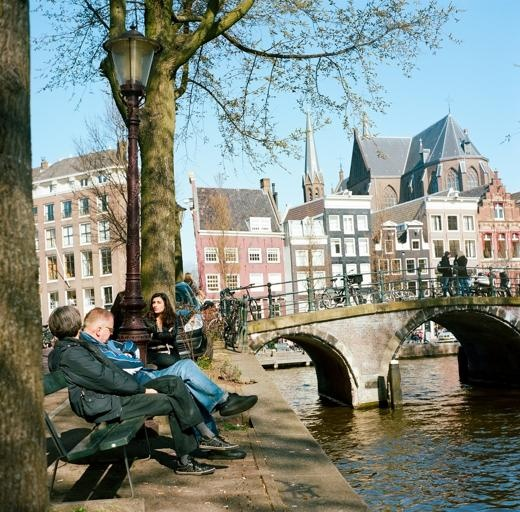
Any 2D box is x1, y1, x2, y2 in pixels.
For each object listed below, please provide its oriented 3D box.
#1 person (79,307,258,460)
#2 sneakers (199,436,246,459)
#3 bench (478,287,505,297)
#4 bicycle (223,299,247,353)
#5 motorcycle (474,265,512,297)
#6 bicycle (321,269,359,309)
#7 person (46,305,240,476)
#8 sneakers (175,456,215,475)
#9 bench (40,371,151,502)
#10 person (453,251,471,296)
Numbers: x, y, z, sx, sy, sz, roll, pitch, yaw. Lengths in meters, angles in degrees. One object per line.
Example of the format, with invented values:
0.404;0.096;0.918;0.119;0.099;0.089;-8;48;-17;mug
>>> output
-0.724;0.935;4.961;1.298;1.091;0.477;-4;7;12;person
-0.276;1.447;5.007;0.387;0.172;0.157;3;-5;-2;sneakers
8.207;1.313;23.384;0.979;0.363;2.951;-4;-5;19;bench
-0.835;1.767;16.661;0.117;1.352;1.840;5;-14;-31;bicycle
9.459;1.041;26.785;1.196;0.892;2.225;-1;-9;5;motorcycle
2.636;1.145;21.399;1.696;1.007;0.817;-6;-1;-38;bicycle
-0.821;0.894;4.664;1.091;1.289;0.559;-12;5;10;person
-0.465;1.510;4.743;0.284;0.135;0.118;0;-2;-4;sneakers
-1.068;1.157;4.407;0.638;0.801;1.547;-1;-5;-13;bench
6.918;0.649;22.574;0.483;1.489;2.365;-4;-5;17;person
